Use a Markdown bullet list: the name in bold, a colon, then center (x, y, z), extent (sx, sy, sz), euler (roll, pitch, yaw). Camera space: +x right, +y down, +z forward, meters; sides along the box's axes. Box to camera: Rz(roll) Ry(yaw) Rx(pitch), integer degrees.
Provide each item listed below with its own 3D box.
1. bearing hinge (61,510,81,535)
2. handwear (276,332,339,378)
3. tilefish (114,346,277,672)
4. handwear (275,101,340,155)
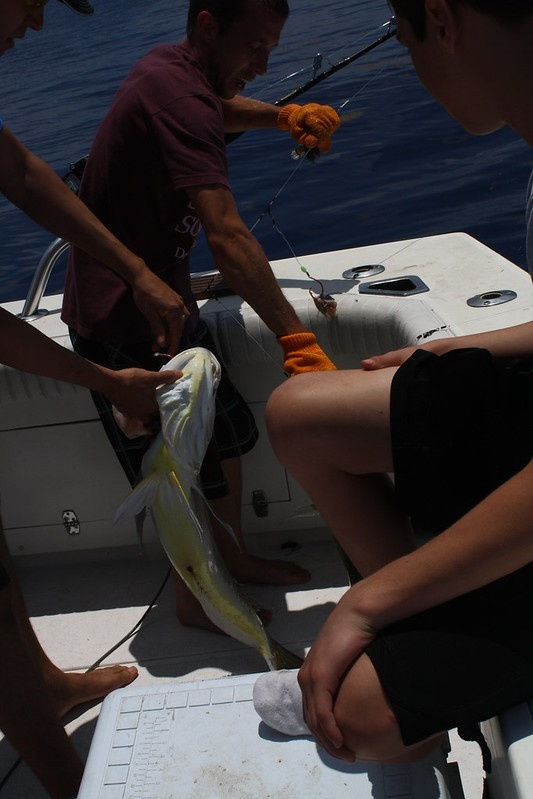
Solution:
- **bearing hinge**: center (-0.687, 0.429, 2.217), extent (0.060, 0.083, 0.020), euler (-3, 25, 0)
- **handwear**: center (0.097, -0.117, 1.504), extent (0.112, 0.063, 0.137), euler (-14, 38, -11)
- **tilefish**: center (-0.170, 0.219, 1.634), extent (0.325, 0.900, 0.266), euler (-18, -2, 15)
- **handwear**: center (0.147, -0.965, 2.269), extent (0.180, 0.101, 0.225), euler (33, 33, -3)
